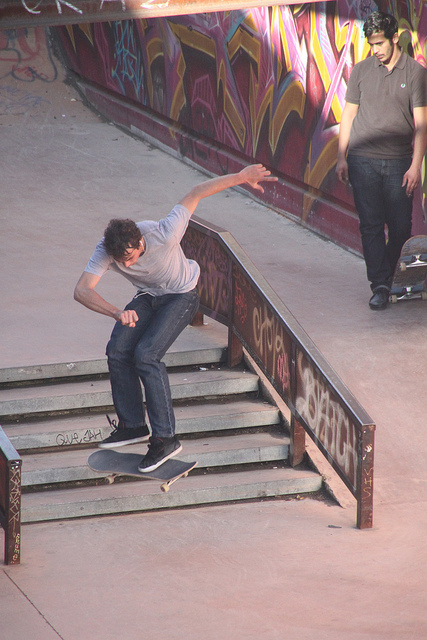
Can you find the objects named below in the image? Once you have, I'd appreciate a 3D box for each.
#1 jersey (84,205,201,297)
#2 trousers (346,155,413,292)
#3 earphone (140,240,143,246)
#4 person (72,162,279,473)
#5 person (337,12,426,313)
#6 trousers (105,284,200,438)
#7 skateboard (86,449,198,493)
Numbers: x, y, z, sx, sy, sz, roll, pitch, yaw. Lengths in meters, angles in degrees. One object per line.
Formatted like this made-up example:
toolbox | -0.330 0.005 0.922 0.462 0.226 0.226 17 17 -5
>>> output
jersey | -0.333 -0.363 4.203 0.568 0.504 0.343 -4 10 -20
trousers | 1.402 -0.808 6.536 0.549 1.159 0.331 1 10 10
earphone | -0.377 -0.385 3.877 0.008 0.028 0.021 -2 16 1
person | -0.345 0.060 4.165 0.516 1.620 0.880 7 12 38
person | 1.387 -1.239 6.406 0.650 2.374 0.689 -1 10 0
trousers | -0.372 0.236 4.205 0.396 0.723 0.453 2 10 15
skateboard | -0.404 0.788 4.074 0.624 0.132 0.240 10 27 22
